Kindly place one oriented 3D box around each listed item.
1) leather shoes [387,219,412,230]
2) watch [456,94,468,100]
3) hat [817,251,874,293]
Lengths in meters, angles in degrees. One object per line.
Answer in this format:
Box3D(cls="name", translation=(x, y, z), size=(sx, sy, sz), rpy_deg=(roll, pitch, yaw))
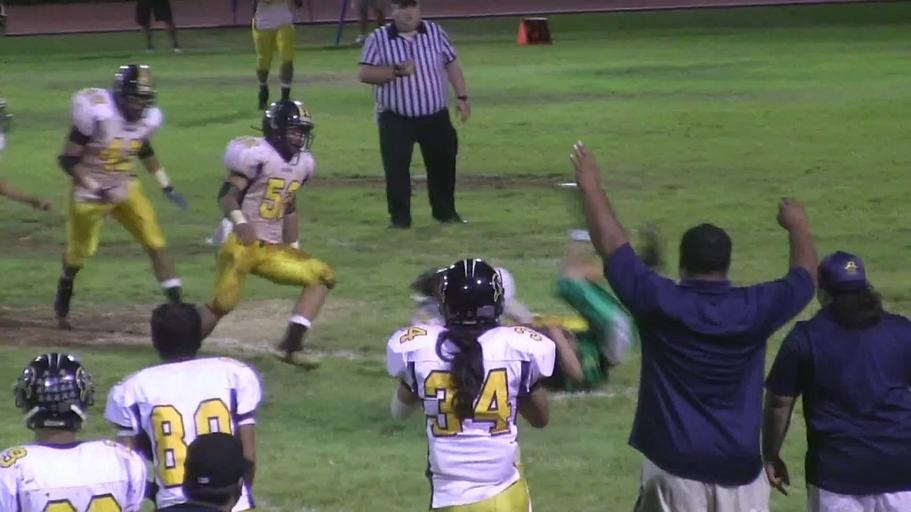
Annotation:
Box3D(cls="leather shoes", translation=(-0.844, -0.475, 29.186), size=(0.306, 0.162, 0.142), rpy_deg=(-3, 14, 1))
Box3D(cls="watch", translation=(0.102, -2.377, 28.804), size=(0.113, 0.050, 0.093), rpy_deg=(6, 21, 5))
Box3D(cls="hat", translation=(5.040, 0.163, 24.781), size=(0.654, 0.412, 0.799), rpy_deg=(-8, 17, -20))
